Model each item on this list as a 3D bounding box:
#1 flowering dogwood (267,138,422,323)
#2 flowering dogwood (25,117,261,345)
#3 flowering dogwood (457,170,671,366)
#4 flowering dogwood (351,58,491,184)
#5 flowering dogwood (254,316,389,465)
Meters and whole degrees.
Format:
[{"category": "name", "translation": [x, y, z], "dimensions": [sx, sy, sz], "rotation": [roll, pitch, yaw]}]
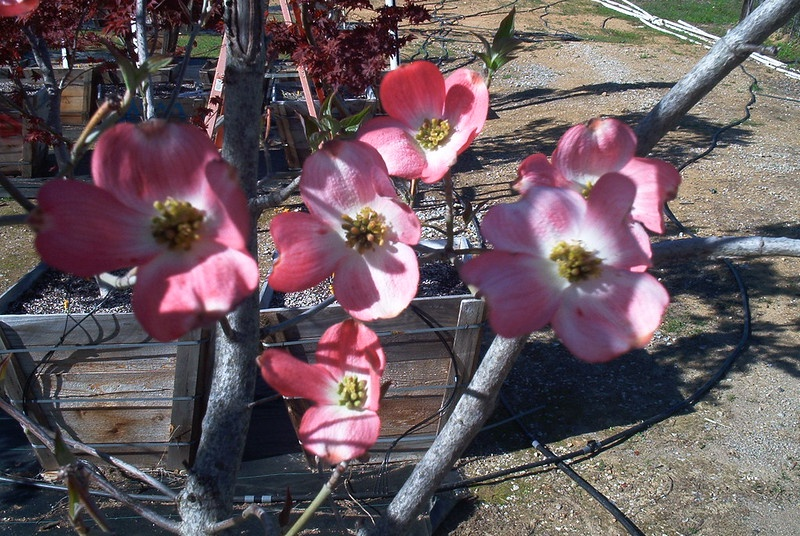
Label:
[{"category": "flowering dogwood", "translation": [-0.153, -0.113, 2.415], "dimensions": [0.587, 0.546, 0.253], "rotation": [11, 2, 2]}, {"category": "flowering dogwood", "translation": [-0.738, -0.133, 2.282], "dimensions": [0.715, 0.533, 0.412], "rotation": [26, 36, 15]}, {"category": "flowering dogwood", "translation": [0.528, -0.007, 2.458], "dimensions": [0.667, 0.586, 0.674], "rotation": [21, 40, 23]}, {"category": "flowering dogwood", "translation": [0.090, -0.478, 2.519], "dimensions": [0.437, 0.397, 0.253], "rotation": [7, -8, 20]}, {"category": "flowering dogwood", "translation": [-0.213, 0.382, 2.422], "dimensions": [0.403, 0.349, 0.285], "rotation": [33, 38, 23]}]
